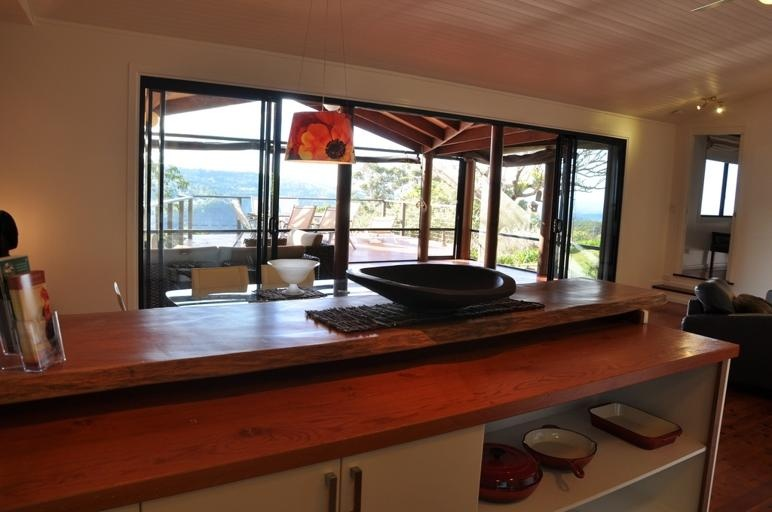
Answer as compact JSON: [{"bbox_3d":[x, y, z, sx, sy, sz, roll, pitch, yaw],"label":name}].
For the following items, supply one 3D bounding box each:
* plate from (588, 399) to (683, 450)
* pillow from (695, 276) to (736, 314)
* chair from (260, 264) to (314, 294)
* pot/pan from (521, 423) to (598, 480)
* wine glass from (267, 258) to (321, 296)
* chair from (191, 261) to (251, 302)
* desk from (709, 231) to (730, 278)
[{"bbox_3d":[1.255,0.835,2.535,0.208,0.045,0.309,-4,5,-32],"label":"plate"},{"bbox_3d":[3.039,0.362,4.666,0.520,0.281,0.162,12,-30,-23],"label":"pillow"},{"bbox_3d":[-0.666,0.167,3.611,0.344,0.185,0.326,3,15,24],"label":"chair"},{"bbox_3d":[0.792,0.902,2.242,0.322,0.065,0.445,2,10,0],"label":"pot/pan"},{"bbox_3d":[-0.649,0.122,3.596,0.349,0.172,0.303,-2,10,-10],"label":"wine glass"},{"bbox_3d":[-1.367,0.234,4.222,0.476,0.252,0.227,-4,18,-27],"label":"chair"},{"bbox_3d":[6.049,-0.059,9.094,0.491,0.717,0.535,0,4,27],"label":"desk"}]
